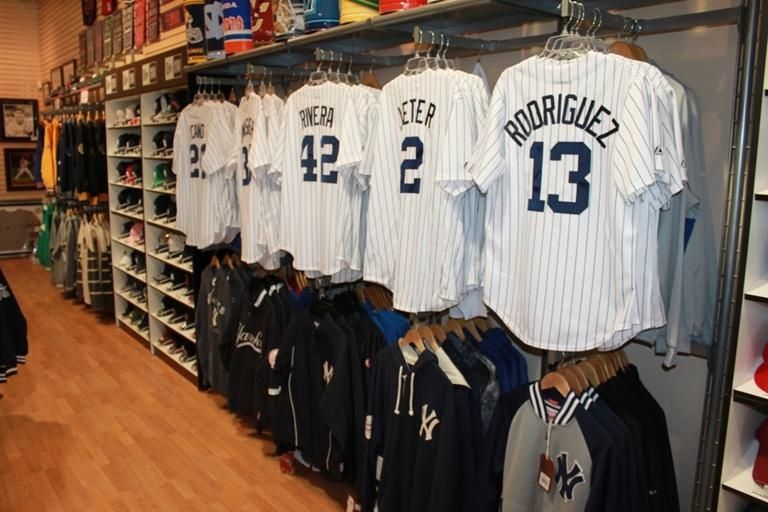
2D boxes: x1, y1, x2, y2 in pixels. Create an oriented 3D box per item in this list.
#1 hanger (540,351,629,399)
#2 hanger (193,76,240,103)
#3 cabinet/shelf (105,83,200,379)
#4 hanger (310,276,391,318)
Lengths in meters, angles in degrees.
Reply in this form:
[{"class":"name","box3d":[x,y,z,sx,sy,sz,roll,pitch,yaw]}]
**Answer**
[{"class":"hanger","box3d":[1.133,0.653,3.309,0.231,0.182,0.397,-2,1,33]},{"class":"hanger","box3d":[-1.483,-1.491,5.189,0.389,0.271,0.621,1,7,-15]},{"class":"cabinet/shelf","box3d":[-2.407,-0.319,6.155,0.618,3.169,2.454,-5,11,-40]},{"class":"hanger","box3d":[-0.236,0.298,4.237,0.367,0.046,0.234,-7,41,-3]}]
